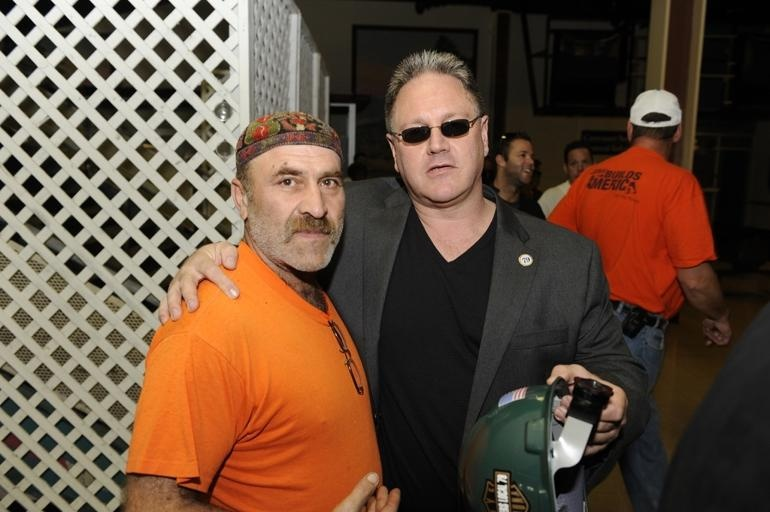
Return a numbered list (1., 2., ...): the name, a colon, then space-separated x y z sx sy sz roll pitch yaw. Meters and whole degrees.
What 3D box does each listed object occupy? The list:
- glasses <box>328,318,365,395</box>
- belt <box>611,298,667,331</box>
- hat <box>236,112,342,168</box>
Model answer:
1. glasses: -0.175 0.460 2.871 0.081 0.342 0.071 -32 -15 30
2. belt: 1.662 0.404 4.160 0.263 0.115 0.192 27 -1 -21
3. hat: -0.452 -0.517 2.904 0.315 0.170 0.314 4 -22 -14
